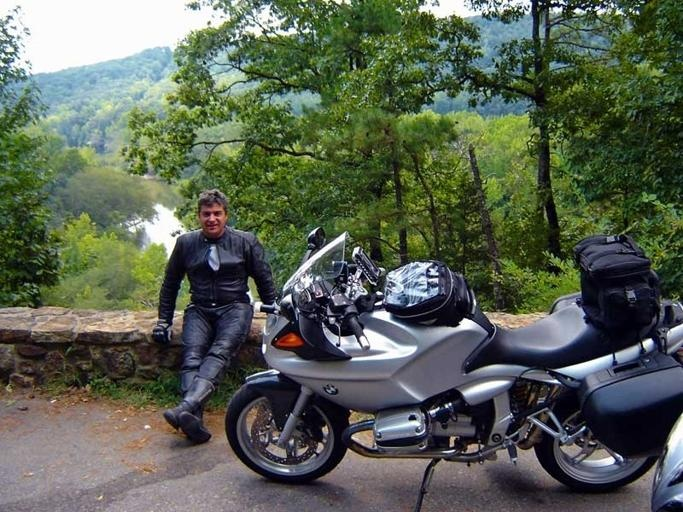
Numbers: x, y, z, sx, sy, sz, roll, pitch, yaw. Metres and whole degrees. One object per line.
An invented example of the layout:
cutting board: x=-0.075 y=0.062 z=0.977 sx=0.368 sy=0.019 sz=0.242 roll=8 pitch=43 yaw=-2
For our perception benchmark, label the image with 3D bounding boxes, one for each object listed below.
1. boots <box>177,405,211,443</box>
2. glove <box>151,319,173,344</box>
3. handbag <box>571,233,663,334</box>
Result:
boots: x=-1.252 y=1.419 z=4.348 sx=0.148 sy=0.280 sz=0.273 roll=-18 pitch=17 yaw=3
glove: x=-1.726 y=0.736 z=4.990 sx=0.155 sy=0.244 sz=0.106 roll=5 pitch=-30 yaw=-17
handbag: x=1.868 y=0.170 z=3.549 sx=0.638 sy=0.581 sz=0.517 roll=-5 pitch=18 yaw=16
